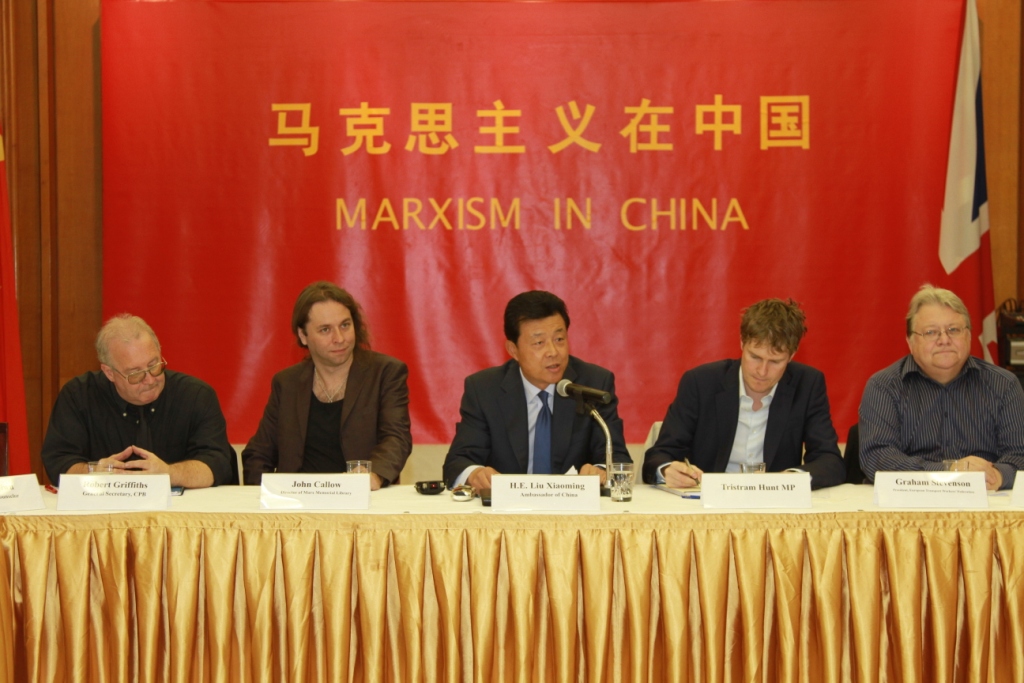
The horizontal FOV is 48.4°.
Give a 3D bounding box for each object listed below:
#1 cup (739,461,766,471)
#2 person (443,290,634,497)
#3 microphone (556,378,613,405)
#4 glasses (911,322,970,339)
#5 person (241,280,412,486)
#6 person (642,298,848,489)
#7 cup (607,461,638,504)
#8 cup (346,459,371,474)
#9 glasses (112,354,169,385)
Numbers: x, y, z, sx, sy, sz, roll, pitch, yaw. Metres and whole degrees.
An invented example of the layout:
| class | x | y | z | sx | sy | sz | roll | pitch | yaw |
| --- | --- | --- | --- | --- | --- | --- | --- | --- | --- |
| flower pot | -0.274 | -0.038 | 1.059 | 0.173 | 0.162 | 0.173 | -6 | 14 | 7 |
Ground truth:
| class | x | y | z | sx | sy | sz | roll | pitch | yaw |
| --- | --- | --- | --- | --- | --- | --- | --- | --- | --- |
| cup | 1.111 | 0.570 | 5.260 | 0.066 | 0.055 | 0.073 | 1 | -5 | 0 |
| person | 0.111 | 0.218 | 5.424 | 0.868 | 0.924 | 0.578 | -1 | -2 | 5 |
| microphone | 0.321 | 0.222 | 5.106 | 0.223 | 0.105 | 0.173 | 0 | -2 | 1 |
| glasses | 2.045 | -0.041 | 5.454 | 0.239 | 0.065 | 0.075 | -1 | -2 | 22 |
| person | -0.911 | 0.200 | 5.767 | 0.857 | 1.004 | 0.503 | -1 | -2 | 19 |
| person | 1.114 | 0.241 | 5.458 | 0.926 | 0.879 | 0.582 | -1 | -2 | 6 |
| cup | 0.461 | 0.636 | 5.082 | 0.129 | 0.222 | 0.133 | 0 | -9 | 0 |
| cup | -0.681 | 0.560 | 5.107 | 0.068 | 0.058 | 0.074 | 1 | -6 | 0 |
| glasses | -1.757 | 0.133 | 5.405 | 0.221 | 0.132 | 0.125 | 1 | -2 | -25 |
